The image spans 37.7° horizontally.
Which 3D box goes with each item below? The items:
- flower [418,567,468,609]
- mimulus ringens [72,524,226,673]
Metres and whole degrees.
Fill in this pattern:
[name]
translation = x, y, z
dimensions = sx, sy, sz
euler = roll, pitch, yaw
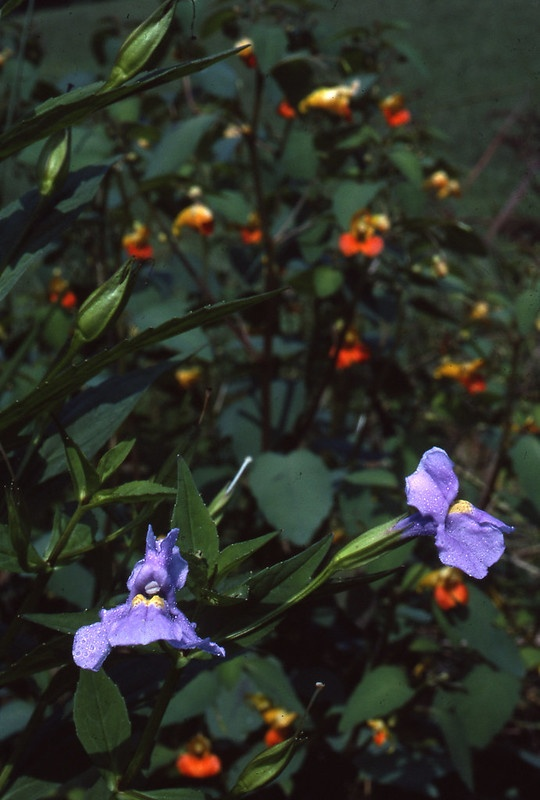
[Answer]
[flower]
translation = 0.207, 0.218, 0.923
dimensions = 0.052, 0.036, 0.025
euler = 8, -28, 39
[mimulus ringens]
translation = -0.084, 0.147, 0.517
dimensions = 0.086, 0.126, 0.084
euler = 4, 30, -19
